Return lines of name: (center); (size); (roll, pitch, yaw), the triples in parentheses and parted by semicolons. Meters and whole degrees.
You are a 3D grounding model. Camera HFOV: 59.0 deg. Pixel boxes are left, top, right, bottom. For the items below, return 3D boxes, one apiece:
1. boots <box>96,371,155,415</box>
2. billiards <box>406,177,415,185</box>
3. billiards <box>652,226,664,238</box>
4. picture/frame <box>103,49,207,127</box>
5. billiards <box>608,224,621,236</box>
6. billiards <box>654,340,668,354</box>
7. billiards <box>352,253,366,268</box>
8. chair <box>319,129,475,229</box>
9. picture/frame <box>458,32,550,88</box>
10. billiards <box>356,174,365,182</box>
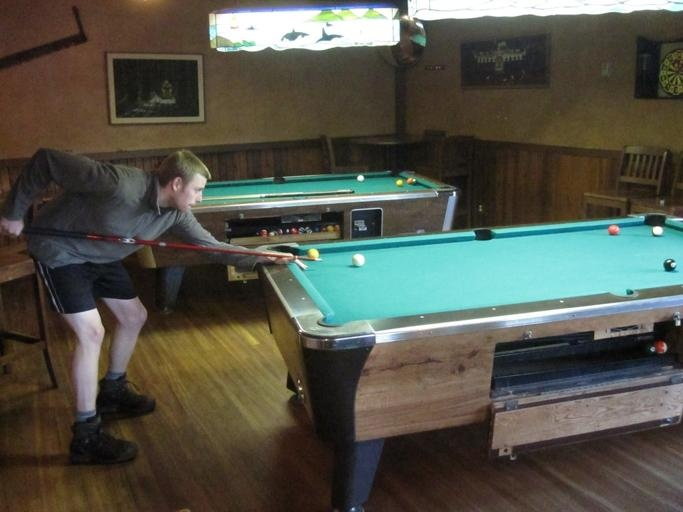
boots: (-1.154, 0.793, 3.459); (0.439, 0.262, 0.145); (0, 3, -15)
billiards: (0.591, -0.641, 5.118); (0.060, 0.030, 0.068); (-7, 17, -7)
billiards: (1.841, -0.150, 3.514); (0.078, 0.070, 0.088); (-1, 17, 16)
picture/frame: (-2.132, -1.910, 6.753); (1.054, 0.656, 0.041); (-3, 7, -22)
billiards: (1.629, -0.151, 3.594); (0.073, 0.064, 0.069); (-3, -28, 13)
billiards: (1.469, 0.419, 2.765); (0.044, 0.046, 0.043); (-14, 48, -6)
billiards: (0.087, 0.021, 3.069); (0.069, 0.059, 0.075); (-5, 4, -5)
chair: (0.852, -0.985, 7.561); (1.810, 0.974, 1.205); (-3, 9, -20)
picture/frame: (1.764, -2.144, 6.630); (0.037, 0.551, 1.218); (-20, 23, -33)
billiards: (0.183, -0.707, 5.399); (0.080, 0.040, 0.074); (-13, 34, -8)
